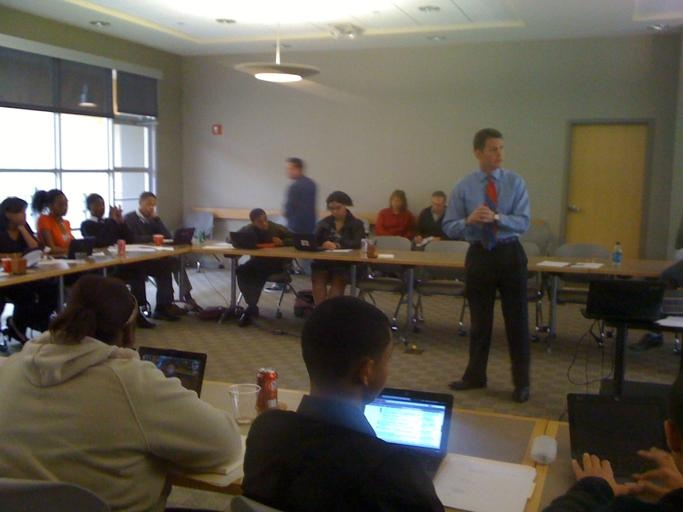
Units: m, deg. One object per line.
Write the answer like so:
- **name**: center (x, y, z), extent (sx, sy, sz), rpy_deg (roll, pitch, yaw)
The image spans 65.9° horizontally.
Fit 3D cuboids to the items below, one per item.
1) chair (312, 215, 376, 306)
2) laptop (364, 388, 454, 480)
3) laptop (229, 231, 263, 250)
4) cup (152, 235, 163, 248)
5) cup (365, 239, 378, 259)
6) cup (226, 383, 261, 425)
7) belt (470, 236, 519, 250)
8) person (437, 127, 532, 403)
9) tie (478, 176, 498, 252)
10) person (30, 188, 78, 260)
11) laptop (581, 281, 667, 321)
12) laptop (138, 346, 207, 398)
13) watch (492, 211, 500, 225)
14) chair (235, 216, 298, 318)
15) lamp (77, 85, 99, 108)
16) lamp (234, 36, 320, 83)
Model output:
- **chair**: center (-0.060, 0.049, 6.087), extent (0.662, 1.530, 0.486), rpy_deg (3, -7, 9)
- **laptop**: center (0.188, 0.569, 1.685), extent (0.286, 0.180, 0.259), rpy_deg (0, 14, 26)
- **laptop**: center (-1.106, -0.182, 5.958), extent (0.276, 0.187, 0.204), rpy_deg (3, 14, 12)
- **cup**: center (-2.234, -0.177, 6.400), extent (0.141, 0.129, 0.142), rpy_deg (0, -2, 0)
- **cup**: center (0.357, -0.071, 5.631), extent (0.120, 0.205, 0.205), rpy_deg (0, 2, 4)
- **cup**: center (-0.359, 0.536, 1.962), extent (0.129, 0.132, 0.130), rpy_deg (0, -1, 0)
- **belt**: center (1.083, -0.089, 3.703), extent (0.332, 0.081, 0.172), rpy_deg (2, 9, 11)
- **person**: center (1.069, 0.099, 3.817), extent (0.658, 1.984, 0.410), rpy_deg (4, 10, 21)
- **tie**: center (1.019, -0.252, 3.601), extent (0.107, 0.553, 0.041), rpy_deg (7, 39, 21)
- **person**: center (-3.195, -0.347, 6.023), extent (0.637, 0.760, 0.497), rpy_deg (0, 4, 10)
- **laptop**: center (1.738, 0.207, 3.248), extent (0.411, 0.290, 0.295), rpy_deg (3, 32, 19)
- **laptop**: center (-0.639, 0.417, 2.017), extent (0.262, 0.186, 0.195), rpy_deg (5, 9, 14)
- **watch**: center (1.059, -0.258, 3.599), extent (0.019, 0.060, 0.044), rpy_deg (8, 4, -21)
- **chair**: center (-0.949, 0.084, 6.419), extent (0.650, 1.358, 0.772), rpy_deg (8, 11, 20)
- **lamp**: center (-3.828, -2.367, 7.895), extent (0.279, 0.308, 0.282), rpy_deg (0, 2, -8)
- **lamp**: center (-0.919, -2.980, 7.919), extent (1.219, 0.673, 1.229), rpy_deg (0, 4, 3)
